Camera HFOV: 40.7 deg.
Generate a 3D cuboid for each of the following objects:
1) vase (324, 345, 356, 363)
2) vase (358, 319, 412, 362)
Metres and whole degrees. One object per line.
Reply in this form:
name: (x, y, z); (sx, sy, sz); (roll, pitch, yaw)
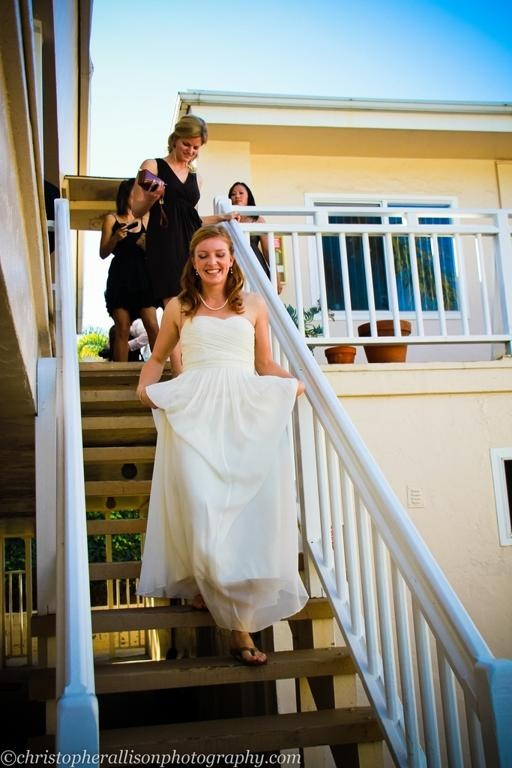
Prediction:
vase: (0.595, -0.197, 4.973); (0.145, 0.095, 0.146); (-11, -16, 23)
vase: (0.991, -0.337, 5.212); (0.384, 0.302, 0.389); (1, -9, -10)
